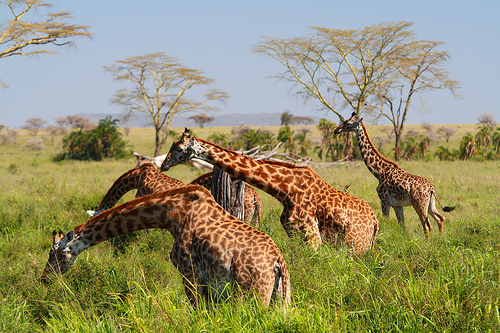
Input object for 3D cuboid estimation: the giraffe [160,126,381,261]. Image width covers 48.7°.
[{"bbox_3d":[0.793,0.914,19.937,8.377,5.958,2.636,8,-22,-5],"label":"giraffe"}]
